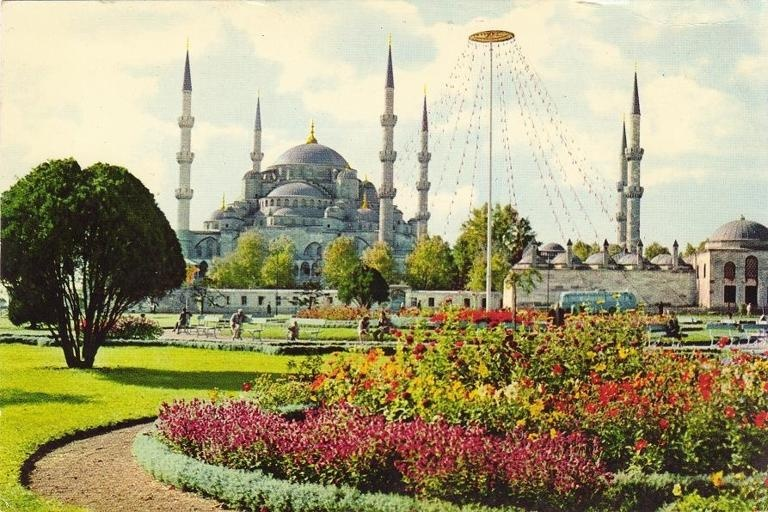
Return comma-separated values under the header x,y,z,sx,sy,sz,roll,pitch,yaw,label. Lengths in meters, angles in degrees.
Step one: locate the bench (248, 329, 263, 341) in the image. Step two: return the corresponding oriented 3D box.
x,y,z,sx,sy,sz,roll,pitch,yaw,label
-4.008,2.484,41.676,0.477,0.464,0.361,-3,-9,19,bench
